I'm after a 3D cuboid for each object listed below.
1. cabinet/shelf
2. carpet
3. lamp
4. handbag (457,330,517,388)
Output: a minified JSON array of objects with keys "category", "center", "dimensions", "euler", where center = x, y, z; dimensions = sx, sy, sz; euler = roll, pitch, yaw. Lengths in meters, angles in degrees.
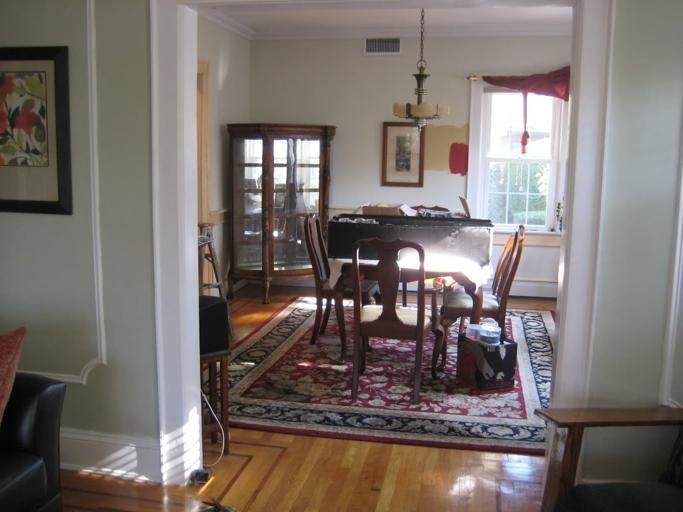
[{"category":"cabinet/shelf","center":[-0.659,-0.509,7.092],"dimensions":[1.403,2.149,0.642],"euler":[-6,10,-43]},{"category":"carpet","center":[0.362,0.932,4.732],"dimensions":[2.772,0.068,2.313],"euler":[2,13,9]},{"category":"lamp","center":[0.718,-1.706,5.154],"dimensions":[0.491,1.122,0.442],"euler":[1,1,-24]},{"category":"handbag","center":[1.100,0.838,4.320],"dimensions":[0.405,0.409,0.411],"euler":[4,14,17]}]
